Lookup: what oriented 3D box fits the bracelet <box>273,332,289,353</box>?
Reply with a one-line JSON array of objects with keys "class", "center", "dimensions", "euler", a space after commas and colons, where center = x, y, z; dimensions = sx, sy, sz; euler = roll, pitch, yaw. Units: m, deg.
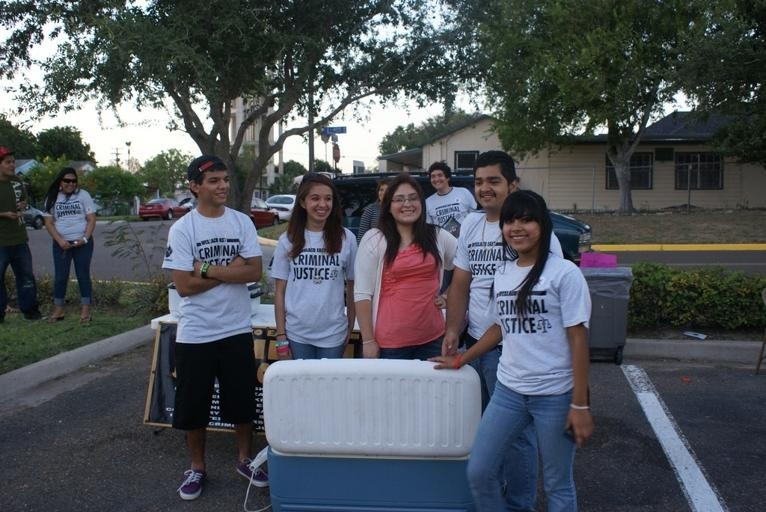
[{"class": "bracelet", "center": [-0.912, 0.768, 5.664], "dimensions": [0.112, 0.162, 0.078], "euler": [-3, 8, 16]}]

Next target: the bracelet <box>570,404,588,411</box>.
[{"class": "bracelet", "center": [1.471, 1.117, 4.726], "dimensions": [0.125, 0.054, 0.079], "euler": [-1, 5, 20]}]

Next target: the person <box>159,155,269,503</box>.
[{"class": "person", "center": [-1.529, 0.620, 5.749], "dimensions": [0.871, 3.060, 0.403], "euler": [-4, 4, -14]}]

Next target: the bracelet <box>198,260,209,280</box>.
[{"class": "bracelet", "center": [-1.602, 0.118, 5.633], "dimensions": [0.087, 0.123, 0.047], "euler": [0, -3, -33]}]

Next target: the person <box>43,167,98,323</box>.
[{"class": "person", "center": [-4.747, -0.179, 9.549], "dimensions": [0.688, 2.283, 0.750], "euler": [-5, 5, -28]}]

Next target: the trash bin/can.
[{"class": "trash bin/can", "center": [2.846, 0.775, 8.291], "dimensions": [0.793, 1.133, 0.813], "euler": [1, -2, 6]}]

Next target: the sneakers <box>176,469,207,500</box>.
[{"class": "sneakers", "center": [-1.747, 2.056, 5.727], "dimensions": [0.258, 0.229, 0.189], "euler": [-4, 5, -19]}]

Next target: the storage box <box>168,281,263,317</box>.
[{"class": "storage box", "center": [-1.765, 0.423, 6.609], "dimensions": [0.680, 0.309, 0.521], "euler": [-1, 5, -1]}]

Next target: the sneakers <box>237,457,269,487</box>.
[{"class": "sneakers", "center": [-1.234, 1.980, 5.866], "dimensions": [0.374, 0.154, 0.146], "euler": [13, 10, 31]}]

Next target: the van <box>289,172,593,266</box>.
[{"class": "van", "center": [1.368, -0.748, 11.070], "dimensions": [3.741, 1.682, 1.968], "euler": [-6, 5, 5]}]

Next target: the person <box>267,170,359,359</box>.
[{"class": "person", "center": [-0.631, 0.078, 5.777], "dimensions": [0.799, 1.672, 0.369], "euler": [-4, 4, -12]}]
